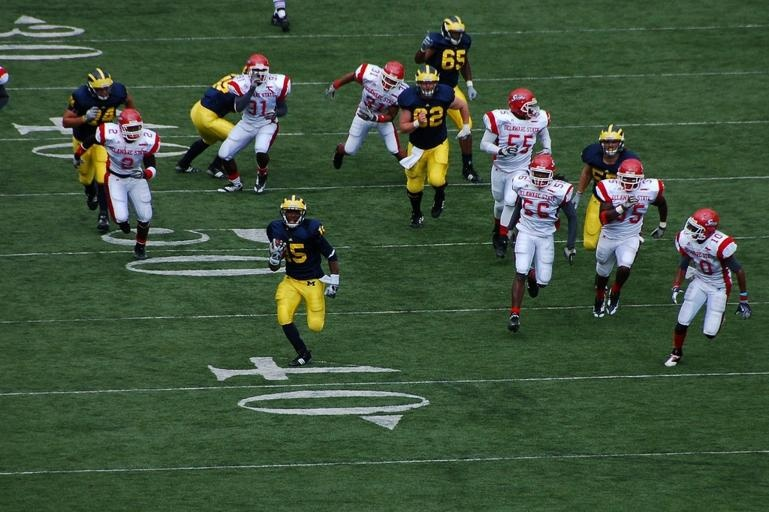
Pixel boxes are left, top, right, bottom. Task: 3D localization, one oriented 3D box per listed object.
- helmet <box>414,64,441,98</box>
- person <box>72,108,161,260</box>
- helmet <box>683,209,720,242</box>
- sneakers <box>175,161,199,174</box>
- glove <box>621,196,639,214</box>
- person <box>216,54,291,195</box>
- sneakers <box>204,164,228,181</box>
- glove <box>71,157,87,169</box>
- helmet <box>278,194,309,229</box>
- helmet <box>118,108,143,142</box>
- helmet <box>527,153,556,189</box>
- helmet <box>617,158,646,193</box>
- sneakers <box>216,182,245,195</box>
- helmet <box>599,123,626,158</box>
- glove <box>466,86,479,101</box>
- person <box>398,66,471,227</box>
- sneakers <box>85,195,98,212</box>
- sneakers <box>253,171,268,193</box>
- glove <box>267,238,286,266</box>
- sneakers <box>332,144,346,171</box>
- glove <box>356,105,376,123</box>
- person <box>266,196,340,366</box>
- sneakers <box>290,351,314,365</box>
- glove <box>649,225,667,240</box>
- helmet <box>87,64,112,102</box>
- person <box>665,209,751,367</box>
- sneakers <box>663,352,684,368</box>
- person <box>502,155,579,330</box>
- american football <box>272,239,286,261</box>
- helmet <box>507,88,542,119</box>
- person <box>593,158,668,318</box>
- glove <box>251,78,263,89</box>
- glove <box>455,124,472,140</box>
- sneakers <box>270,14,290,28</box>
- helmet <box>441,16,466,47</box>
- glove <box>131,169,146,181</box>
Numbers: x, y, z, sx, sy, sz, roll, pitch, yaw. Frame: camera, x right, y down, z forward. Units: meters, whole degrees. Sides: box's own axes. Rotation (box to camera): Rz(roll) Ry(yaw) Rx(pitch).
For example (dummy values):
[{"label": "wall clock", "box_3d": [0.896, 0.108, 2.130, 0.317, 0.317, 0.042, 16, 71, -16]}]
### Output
[{"label": "helmet", "box_3d": [0.537, -2.202, 18.730, 0.266, 0.369, 0.297, 3, 16, 1]}, {"label": "person", "box_3d": [-3.211, -0.908, 18.452, 0.759, 1.876, 0.793, -5, 19, -24]}, {"label": "helmet", "box_3d": [3.493, -0.369, 16.413, 0.421, 0.249, 0.244, -12, 22, -18]}, {"label": "sneakers", "box_3d": [-2.687, -1.232, 20.663, 0.412, 0.134, 0.105, -3, 56, -20]}, {"label": "glove", "box_3d": [2.816, -0.605, 17.170, 0.183, 0.160, 0.040, -6, 20, -28]}, {"label": "person", "box_3d": [-1.749, -1.761, 19.922, 0.905, 1.863, 0.664, 1, 18, -5]}, {"label": "sneakers", "box_3d": [-2.310, -1.164, 20.526, 0.379, 0.134, 0.103, 9, 50, 7]}, {"label": "glove", "box_3d": [-3.866, -1.199, 18.786, 0.176, 0.089, 0.167, -31, -27, 28]}, {"label": "helmet", "box_3d": [-1.008, -0.515, 16.507, 0.242, 0.345, 0.277, 4, 16, 3]}, {"label": "helmet", "box_3d": [-3.061, -1.636, 18.143, 0.343, 0.287, 0.363, -10, 34, -15]}, {"label": "helmet", "box_3d": [1.773, -0.964, 17.165, 0.317, 0.248, 0.354, 15, -14, -2]}, {"label": "helmet", "box_3d": [2.827, -0.948, 17.197, 0.300, 0.362, 0.325, 5, 16, 7]}, {"label": "sneakers", "box_3d": [-2.067, -0.934, 20.158, 0.437, 0.125, 0.113, 0, 27, -4]}, {"label": "helmet", "box_3d": [2.677, -1.400, 17.783, 0.419, 0.339, 0.442, 1, 26, 18]}, {"label": "glove", "box_3d": [1.219, -2.286, 20.893, 0.232, 0.274, 0.091, 1, 62, 4]}, {"label": "person", "box_3d": [0.571, -1.397, 19.069, 0.816, 2.095, 0.968, 7, 18, 13]}, {"label": "sneakers", "box_3d": [-3.773, -0.687, 19.383, 0.130, 0.185, 0.150, -11, -13, -42]}, {"label": "sneakers", "box_3d": [-1.650, -1.009, 20.009, 0.159, 0.147, 0.343, 9, 45, -6]}, {"label": "glove", "box_3d": [-1.172, -0.056, 16.464, 0.237, 0.261, 0.124, 15, 11, -3]}, {"label": "sneakers", "box_3d": [-0.618, -1.364, 20.189, 0.177, 0.174, 0.373, 6, 49, 1]}, {"label": "glove", "box_3d": [-0.231, -1.874, 19.667, 0.255, 0.189, 0.165, 4, 16, 8]}, {"label": "person", "box_3d": [-0.920, 0.272, 16.606, 0.782, 1.927, 0.540, 2, 18, -4]}, {"label": "sneakers", "box_3d": [-0.906, 1.131, 16.722, 0.346, 0.117, 0.091, -7, 50, -7]}, {"label": "glove", "box_3d": [3.245, -0.286, 17.616, 0.150, 0.079, 0.227, 23, -28, -12]}, {"label": "helmet", "box_3d": [-3.591, -2.168, 18.817, 0.298, 0.384, 0.290, 0, 16, -10]}, {"label": "person", "box_3d": [3.602, 0.353, 16.560, 0.854, 1.791, 0.462, 5, 18, 7]}, {"label": "sneakers", "box_3d": [3.227, 1.150, 16.698, 0.124, 0.091, 0.281, 8, 18, 31]}, {"label": "person", "box_3d": [1.804, -0.165, 17.301, 0.777, 2.014, 0.963, 4, 17, 3]}, {"label": "american football", "box_3d": [-1.160, -0.091, 16.397, 0.175, 0.188, 0.090, -5, 13, -19]}, {"label": "helmet", "box_3d": [1.719, -1.895, 18.518, 0.330, 0.357, 0.279, 0, 16, -9]}, {"label": "person", "box_3d": [2.754, -0.223, 17.432, 0.662, 1.892, 0.623, 12, 20, 26]}, {"label": "glove", "box_3d": [-1.681, -2.292, 19.643, 0.125, 0.042, 0.131, 2, -10, -23]}, {"label": "glove", "box_3d": [1.003, -1.603, 19.284, 0.180, 0.072, 0.214, 12, -24, -32]}, {"label": "sneakers", "box_3d": [-1.739, -3.928, 24.949, 0.228, 0.081, 0.340, 0, 20, -25]}, {"label": "helmet", "box_3d": [0.935, -3.090, 20.379, 0.292, 0.362, 0.367, 3, 15, 0]}, {"label": "glove", "box_3d": [-2.998, -1.008, 18.272, 0.172, 0.039, 0.108, 27, 55, -1]}]
